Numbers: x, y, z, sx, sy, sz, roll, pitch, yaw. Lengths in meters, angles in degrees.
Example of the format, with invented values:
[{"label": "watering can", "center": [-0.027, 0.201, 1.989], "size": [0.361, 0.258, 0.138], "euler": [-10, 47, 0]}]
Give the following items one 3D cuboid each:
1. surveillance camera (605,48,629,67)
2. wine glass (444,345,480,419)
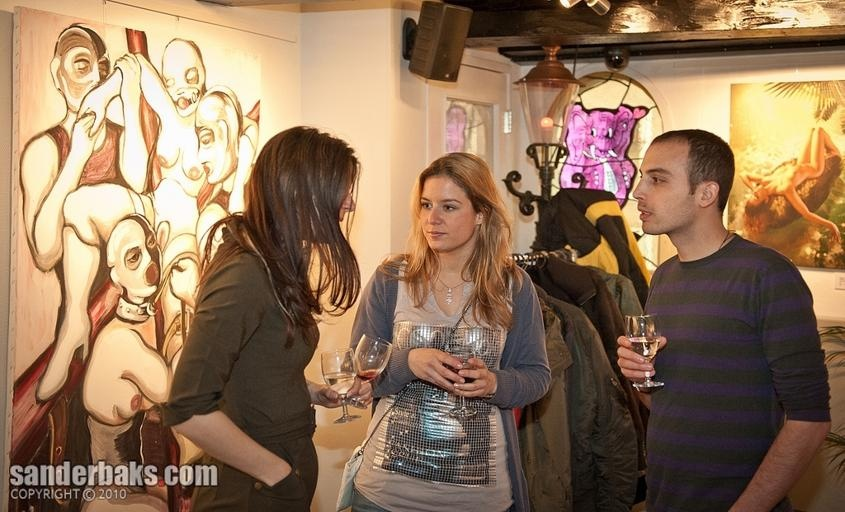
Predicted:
[{"label": "surveillance camera", "center": [1.356, -1.390, 4.501], "size": [0.132, 0.146, 0.105], "euler": [5, 49, -2]}, {"label": "wine glass", "center": [0.180, 0.564, 2.836], "size": [0.120, 0.317, 0.171], "euler": [0, 5, 3]}]
